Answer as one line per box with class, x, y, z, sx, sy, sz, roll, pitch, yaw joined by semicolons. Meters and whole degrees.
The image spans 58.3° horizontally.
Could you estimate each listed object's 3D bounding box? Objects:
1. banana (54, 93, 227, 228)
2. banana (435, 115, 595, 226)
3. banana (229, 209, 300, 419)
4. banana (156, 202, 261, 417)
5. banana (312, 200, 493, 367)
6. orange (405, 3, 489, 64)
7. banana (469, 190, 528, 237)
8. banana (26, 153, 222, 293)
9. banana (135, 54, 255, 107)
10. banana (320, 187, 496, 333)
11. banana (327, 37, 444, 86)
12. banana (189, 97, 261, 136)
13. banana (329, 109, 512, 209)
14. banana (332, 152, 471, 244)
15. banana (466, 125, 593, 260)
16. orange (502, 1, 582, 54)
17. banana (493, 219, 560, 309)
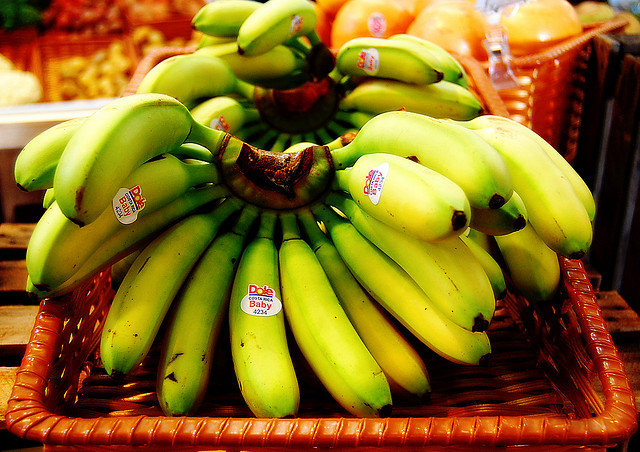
banana;-0.322;-0.149;1.090;0.394;0.204;0.103;-23;-7;-45
banana;0.380;-0.111;1.141;0.074;0.367;0.099;-18;-24;-33
banana;-0.122;0.153;1.107;0.084;0.426;0.143;-1;-26;-8
banana;-0.197;0.156;1.185;0.095;0.468;0.147;23;-17;-24
banana;0.114;0.097;1.117;0.087;0.445;0.148;-56;22;-8
orange;0.397;-0.603;1.826;0.185;0.130;0.235;20;12;-14
banana;0.334;-0.018;1.112;0.086;0.061;0.177;2;-18;10
banana;-0.391;-0.019;1.151;0.107;0.153;0.522;-25;7;45
banana;-0.310;-0.358;1.434;0.359;0.142;0.103;0;10;26
banana;0.164;0.067;1.074;0.083;0.312;0.067;-40;-21;-6
banana;0.149;-0.409;1.463;0.081;0.118;0.385;-7;14;-41
banana;-0.231;-0.272;1.456;0.237;0.065;0.084;0;-29;-38
banana;0.152;-0.174;1.147;0.112;0.130;0.453;-21;32;-34
banana;0.138;-0.071;1.120;0.122;0.143;0.375;-12;26;-31
banana;0.423;-0.057;1.144;0.078;0.099;0.292;-6;46;-44
orange;0.671;-0.616;1.769;0.200;0.121;0.164;-1;51;8
banana;0.414;0.048;1.252;0.070;0.266;0.086;-10;-37;-8
